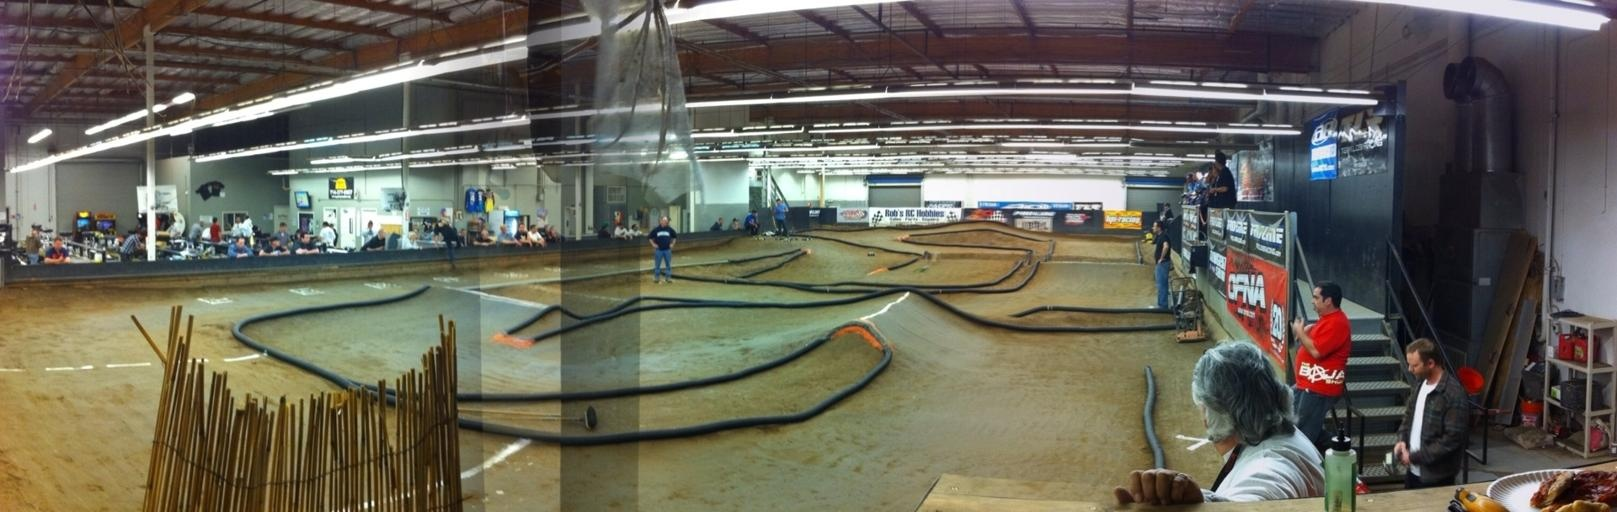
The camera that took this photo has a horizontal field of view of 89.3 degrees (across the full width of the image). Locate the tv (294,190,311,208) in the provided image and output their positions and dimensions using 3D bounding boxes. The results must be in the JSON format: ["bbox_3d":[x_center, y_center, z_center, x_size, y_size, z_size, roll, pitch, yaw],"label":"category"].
[{"bbox_3d":[-27.644,-3.108,44.642,1.410,0.701,0.189,2,5,33],"label":"tv"}]

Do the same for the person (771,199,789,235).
[{"bbox_3d":[-1.864,-2.300,50.849,0.670,2.041,0.779,-7,18,-16],"label":"person"}]

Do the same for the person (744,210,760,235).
[{"bbox_3d":[-3.634,-2.024,50.815,0.794,1.360,1.256,-2,15,-3],"label":"person"}]
